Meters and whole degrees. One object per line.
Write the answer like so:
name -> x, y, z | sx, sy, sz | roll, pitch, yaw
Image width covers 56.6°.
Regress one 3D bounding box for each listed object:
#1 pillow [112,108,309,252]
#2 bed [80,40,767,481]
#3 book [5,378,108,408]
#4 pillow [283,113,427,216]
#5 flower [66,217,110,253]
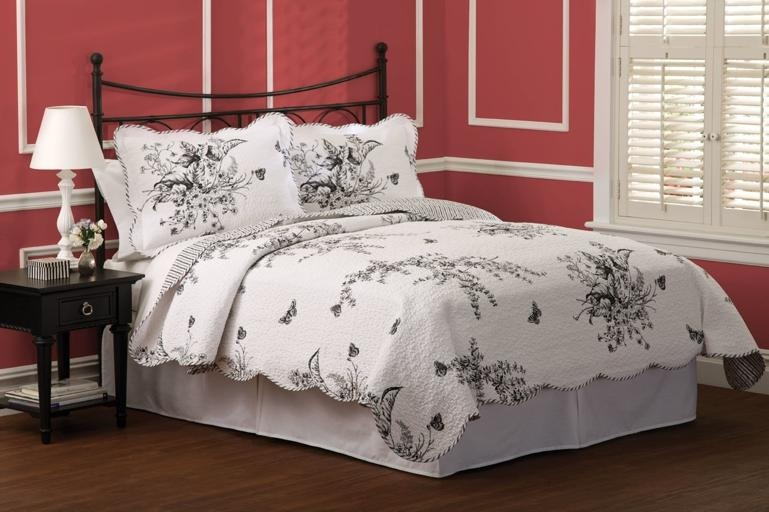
pillow -> -0.927, -0.368, 3.738 | 0.972, 0.541, 0.183 | -8, -16, -19
bed -> -0.039, 0.084, 3.351 | 1.900, 1.026, 1.710 | 4, 9, 43
book -> -1.568, 0.662, 3.456 | 0.229, 0.047, 0.243 | 4, 6, 42
pillow -> -0.196, -0.517, 4.145 | 0.945, 0.550, 0.122 | -4, -19, -26
flower -> -1.502, -0.105, 3.582 | 0.160, 0.135, 0.145 | 20, 33, 15
